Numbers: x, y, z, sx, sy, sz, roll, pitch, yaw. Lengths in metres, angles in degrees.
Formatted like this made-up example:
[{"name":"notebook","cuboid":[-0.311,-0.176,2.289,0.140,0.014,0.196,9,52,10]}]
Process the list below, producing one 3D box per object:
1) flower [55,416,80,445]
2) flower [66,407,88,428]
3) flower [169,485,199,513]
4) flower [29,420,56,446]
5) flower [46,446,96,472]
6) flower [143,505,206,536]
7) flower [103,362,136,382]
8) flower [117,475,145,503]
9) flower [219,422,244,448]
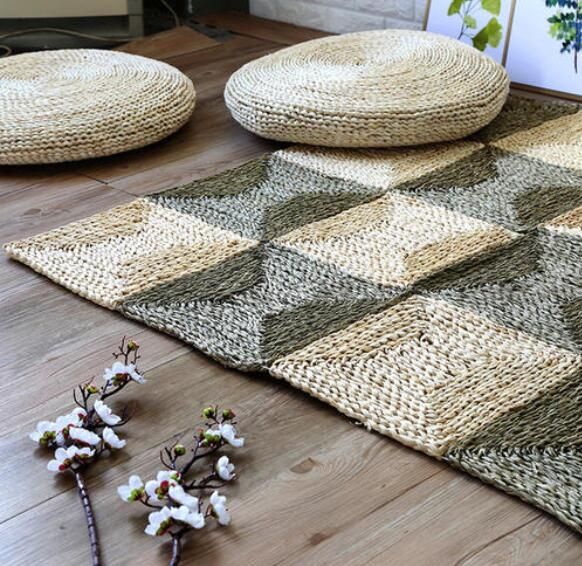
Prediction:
[{"name":"flower","cuboid":[-0.264,0.175,0.735,0.040,0.013,0.034,-21,32,2]},{"name":"flower","cuboid":[-0.257,0.161,0.737,0.027,0.007,0.023,5,22,24]},{"name":"flower","cuboid":[-0.113,0.219,0.622,0.038,0.009,0.021,26,32,13]},{"name":"flower","cuboid":[-0.302,0.182,0.738,0.032,0.016,0.032,-28,18,12]},{"name":"flower","cuboid":[-0.253,0.200,0.698,0.049,0.043,0.019,-27,64,-7]},{"name":"flower","cuboid":[-0.116,0.233,0.609,0.047,0.015,0.050,-2,-8,44]},{"name":"flower","cuboid":[-0.224,0.120,0.809,0.044,0.013,0.036,3,15,-8]},{"name":"flower","cuboid":[-0.167,0.214,0.634,0.025,0.027,0.025,8,39,2]},{"name":"flower","cuboid":[-0.072,0.178,0.713,0.015,0.033,0.030,-44,41,-2]}]
